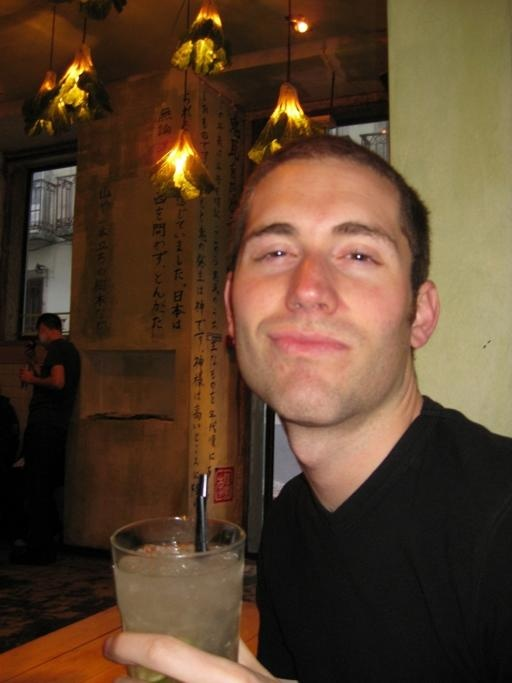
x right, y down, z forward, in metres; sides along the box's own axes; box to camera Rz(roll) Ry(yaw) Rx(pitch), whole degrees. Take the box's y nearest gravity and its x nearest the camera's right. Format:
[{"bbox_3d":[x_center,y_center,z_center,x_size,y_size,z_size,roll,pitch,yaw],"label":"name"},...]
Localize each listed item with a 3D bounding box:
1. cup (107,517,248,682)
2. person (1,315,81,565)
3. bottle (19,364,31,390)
[{"bbox_3d":[-0.106,0.286,0.828,0.186,0.184,0.181,-1,-8,0],"label":"cup"},{"bbox_3d":[-1.320,0.597,4.322,0.398,1.557,0.608,0,1,-15],"label":"person"},{"bbox_3d":[-1.549,0.240,4.565,0.055,0.179,0.111,-6,-12,11],"label":"bottle"}]
